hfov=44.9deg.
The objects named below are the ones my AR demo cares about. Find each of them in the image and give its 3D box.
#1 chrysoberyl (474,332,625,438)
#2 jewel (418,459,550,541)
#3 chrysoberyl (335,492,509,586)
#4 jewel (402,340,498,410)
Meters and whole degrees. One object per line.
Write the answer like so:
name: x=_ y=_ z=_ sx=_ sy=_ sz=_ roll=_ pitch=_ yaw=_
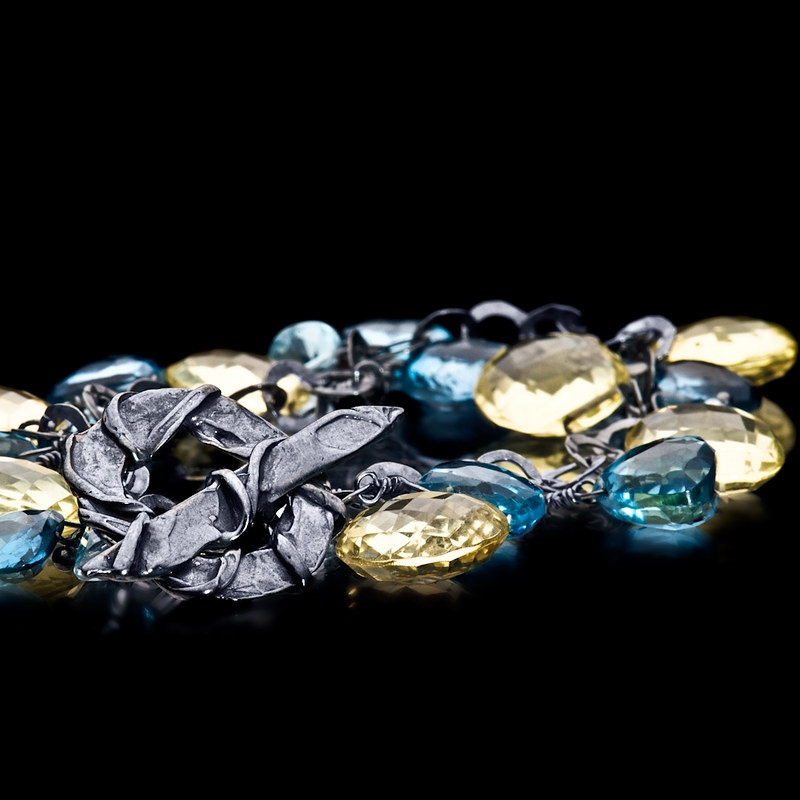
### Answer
chrysoberyl: x=0.206 y=-0.024 z=1.341 sx=0.195 sy=0.081 sz=0.148 roll=-14 pitch=13 yaw=-5
jewel: x=0.092 y=0.104 z=1.095 sx=0.098 sy=0.053 sz=0.118 roll=-9 pitch=18 yaw=-43
chrysoberyl: x=0.019 y=0.140 z=0.987 sx=0.131 sy=0.058 sz=0.128 roll=-12 pitch=-8 yaw=30
jewel: x=0.073 y=-0.038 z=1.541 sx=0.130 sy=0.059 sz=0.127 roll=-5 pitch=-5 yaw=4
